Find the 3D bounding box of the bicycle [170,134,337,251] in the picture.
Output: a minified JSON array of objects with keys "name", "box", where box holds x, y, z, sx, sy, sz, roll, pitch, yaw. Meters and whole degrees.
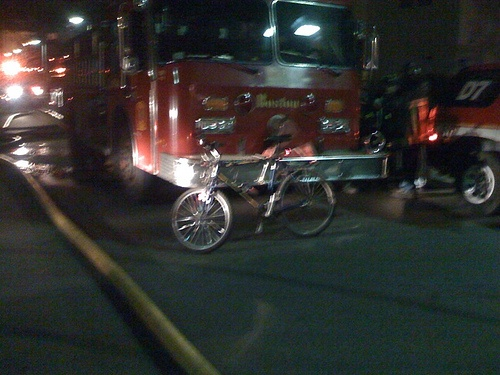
[{"name":"bicycle","box":[-0.053,0.104,5.047,2.008,1.387,1.053,-5,13,-30]}]
